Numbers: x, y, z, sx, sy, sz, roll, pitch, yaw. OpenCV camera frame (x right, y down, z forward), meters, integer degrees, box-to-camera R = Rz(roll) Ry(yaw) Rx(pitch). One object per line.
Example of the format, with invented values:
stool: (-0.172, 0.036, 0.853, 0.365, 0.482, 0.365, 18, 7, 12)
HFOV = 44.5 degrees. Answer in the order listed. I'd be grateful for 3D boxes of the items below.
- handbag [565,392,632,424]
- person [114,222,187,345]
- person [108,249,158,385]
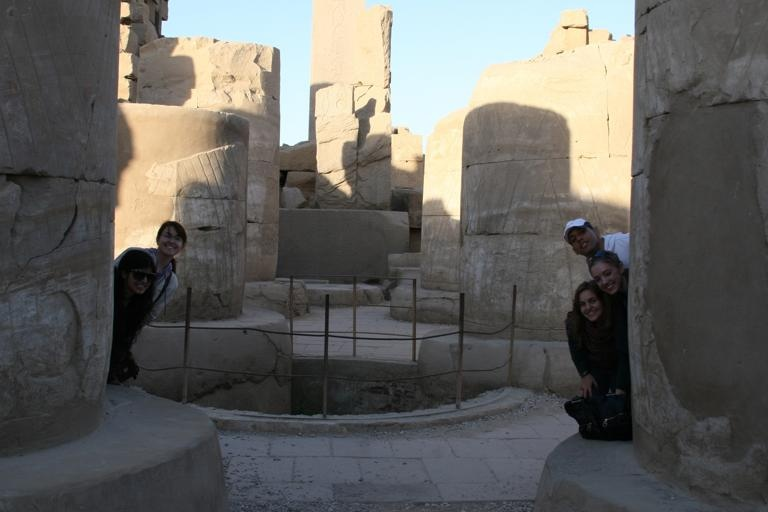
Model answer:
handbag: (1.160, 0.836, 5.122, 0.189, 0.095, 0.233, 7, -17, -41)
person: (-1.443, 0.233, 5.571, 0.290, 0.717, 0.290, 17, 43, -7)
person: (-1.473, 0.374, 5.498, 0.292, 0.850, 0.466, -1, 7, -15)
